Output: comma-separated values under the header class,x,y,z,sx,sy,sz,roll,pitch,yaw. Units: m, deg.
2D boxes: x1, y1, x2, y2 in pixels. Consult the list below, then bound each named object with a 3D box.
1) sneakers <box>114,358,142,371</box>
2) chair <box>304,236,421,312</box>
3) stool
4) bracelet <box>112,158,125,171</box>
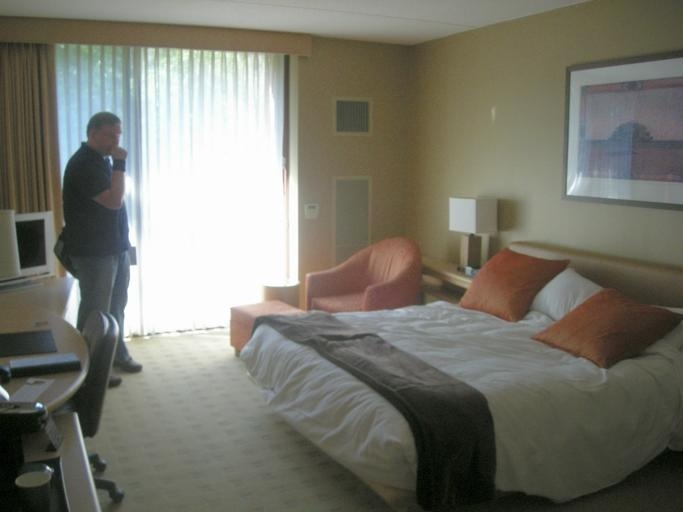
class,x,y,z,sx,sy,sz,roll,pitch,yaw
sneakers,-1.852,0.939,4.760,0.201,0.089,0.108,3,10,-8
chair,0.227,0.219,5.402,0.825,0.890,0.867,0,7,-36
stool,-0.707,0.577,5.029,0.520,0.436,0.544,-5,13,-23
bracelet,-1.729,-0.721,4.281,0.087,0.091,0.092,3,7,-39
